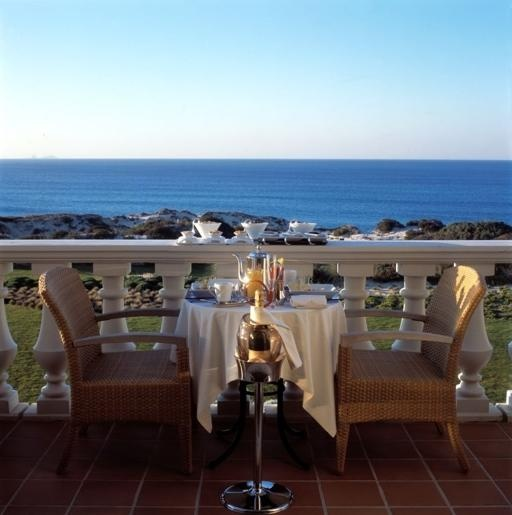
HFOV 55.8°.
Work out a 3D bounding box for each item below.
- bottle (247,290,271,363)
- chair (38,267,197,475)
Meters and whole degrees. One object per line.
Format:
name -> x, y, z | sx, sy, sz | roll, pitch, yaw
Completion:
bottle -> 0.008, 0.245, 1.765 | 0.080, 0.274, 0.096 | -3, 12, -17
chair -> -0.577, 0.506, 2.484 | 0.872, 0.939, 0.701 | 0, 6, -5
